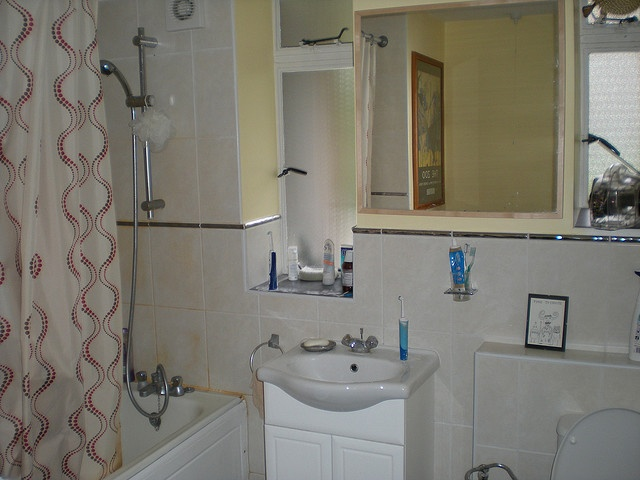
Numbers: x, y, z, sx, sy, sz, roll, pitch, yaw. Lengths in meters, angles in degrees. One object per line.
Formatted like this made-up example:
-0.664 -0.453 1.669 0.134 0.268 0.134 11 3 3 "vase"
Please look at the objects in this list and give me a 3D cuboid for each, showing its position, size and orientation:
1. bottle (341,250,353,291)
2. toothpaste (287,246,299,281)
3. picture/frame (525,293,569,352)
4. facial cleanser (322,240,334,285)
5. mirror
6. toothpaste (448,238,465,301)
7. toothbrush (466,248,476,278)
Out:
0.153 0.169 3.054 0.050 0.225 0.086 -3 5 -36 "bottle"
-0.157 0.137 3.351 0.064 0.204 0.080 0 4 -2 "toothpaste"
1.064 0.385 2.631 0.214 0.343 0.030 3 0 21 "picture/frame"
0.046 0.132 3.219 0.062 0.255 0.041 1 4 11 "facial cleanser"
0.706 -0.586 2.676 0.784 0.857 0.276 2 9 19 "mirror"
0.662 0.144 2.726 0.072 0.301 0.077 2 4 15 "toothpaste"
0.728 0.105 2.726 0.044 0.138 0.042 2 4 12 "toothbrush"
